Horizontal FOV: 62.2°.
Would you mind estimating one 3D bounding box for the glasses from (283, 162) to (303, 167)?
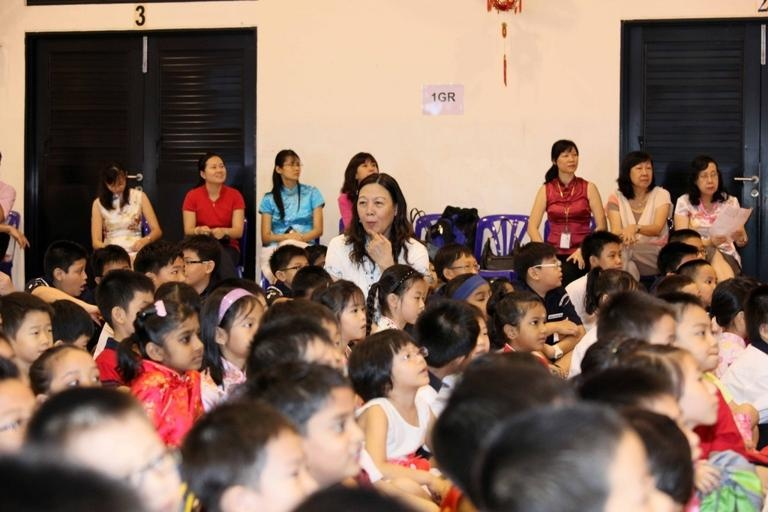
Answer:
[{"bbox_3d":[-0.756,-0.753,5.276,0.161,0.062,0.072,-6,12,-36],"label":"glasses"}]

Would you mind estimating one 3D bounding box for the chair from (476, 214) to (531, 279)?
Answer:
[{"bbox_3d":[0.932,-0.107,5.054,0.388,0.705,0.531,0,-1,1],"label":"chair"}]

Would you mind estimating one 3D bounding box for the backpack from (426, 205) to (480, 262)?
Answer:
[{"bbox_3d":[0.569,-0.204,5.112,0.347,0.646,0.492,4,-2,-10],"label":"backpack"}]

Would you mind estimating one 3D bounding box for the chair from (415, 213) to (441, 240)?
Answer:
[{"bbox_3d":[0.340,-0.252,5.385,0.167,0.277,0.265,0,-3,-1],"label":"chair"}]
